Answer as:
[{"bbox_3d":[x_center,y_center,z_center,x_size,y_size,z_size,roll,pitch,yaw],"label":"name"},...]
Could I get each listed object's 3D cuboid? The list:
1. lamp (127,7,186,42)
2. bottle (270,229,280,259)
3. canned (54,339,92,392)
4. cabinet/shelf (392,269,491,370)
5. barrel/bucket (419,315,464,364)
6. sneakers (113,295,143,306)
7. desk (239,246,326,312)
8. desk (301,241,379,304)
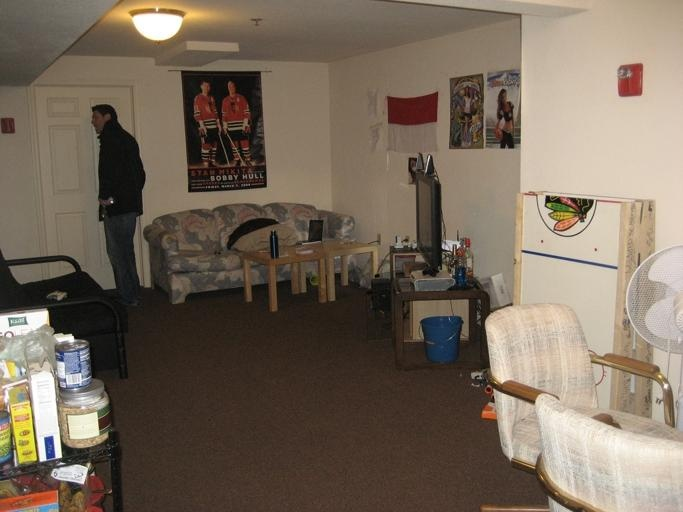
[{"bbox_3d":[-1.504,-1.905,4.573,0.444,0.234,0.327,-7,15,-20],"label":"lamp"},{"bbox_3d":[-0.711,-0.111,5.869,0.087,0.262,0.161,-4,13,-12],"label":"bottle"},{"bbox_3d":[-0.978,0.397,2.031,0.151,0.186,0.150,-1,2,-38],"label":"canned"},{"bbox_3d":[0.809,0.476,4.701,0.686,0.649,0.767,-1,4,0],"label":"cabinet/shelf"},{"bbox_3d":[0.804,0.656,4.533,0.335,0.330,0.335,0,9,0],"label":"barrel/bucket"},{"bbox_3d":[-2.290,0.482,5.936,0.193,0.058,0.159,7,6,10],"label":"sneakers"},{"bbox_3d":[-0.581,0.120,6.137,0.760,0.609,0.755,-5,7,-37],"label":"desk"},{"bbox_3d":[0.022,0.100,6.344,0.733,0.596,0.710,-4,6,-28],"label":"desk"}]
